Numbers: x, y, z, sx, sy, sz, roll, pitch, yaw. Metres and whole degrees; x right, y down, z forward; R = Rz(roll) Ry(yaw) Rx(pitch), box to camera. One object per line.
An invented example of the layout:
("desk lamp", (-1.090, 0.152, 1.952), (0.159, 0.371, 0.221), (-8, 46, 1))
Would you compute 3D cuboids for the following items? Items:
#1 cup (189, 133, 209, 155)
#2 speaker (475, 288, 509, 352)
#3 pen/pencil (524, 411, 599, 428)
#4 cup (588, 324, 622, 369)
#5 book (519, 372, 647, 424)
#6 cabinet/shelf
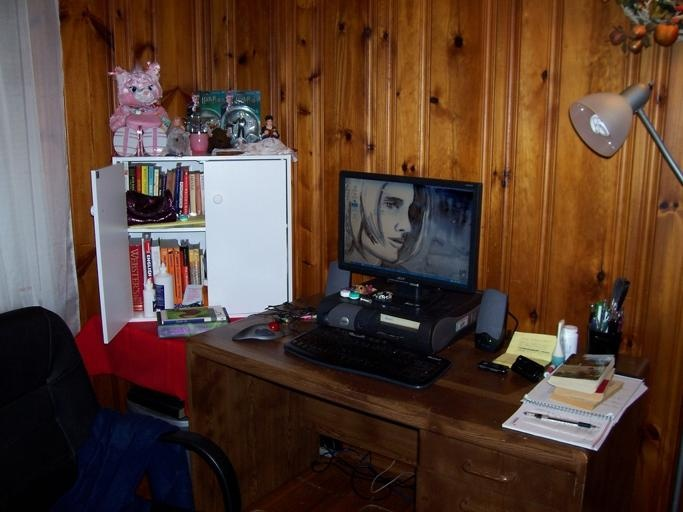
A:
("cup", (-0.700, -0.551, 2.649), (0.098, 0.118, 0.103), (2, 21, -1))
("speaker", (0.581, 0.242, 2.079), (0.113, 0.239, 0.053), (10, -4, 37))
("pen/pencil", (0.651, 0.482, 1.593), (0.140, 0.013, 0.015), (6, 22, 17))
("cup", (0.930, 0.316, 1.916), (0.113, 0.130, 0.111), (2, 4, 0))
("book", (0.757, 0.448, 1.689), (0.179, 0.021, 0.193), (8, 20, 37))
("cabinet/shelf", (-0.595, -0.102, 2.799), (1.093, 1.078, 0.838), (-1, 6, -5))
